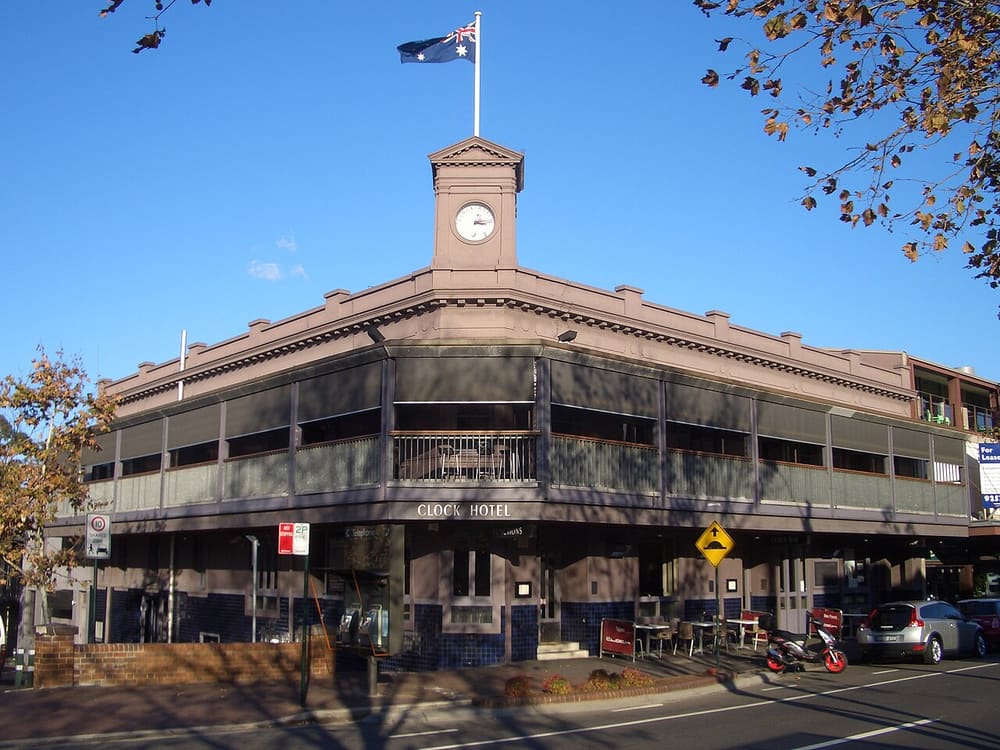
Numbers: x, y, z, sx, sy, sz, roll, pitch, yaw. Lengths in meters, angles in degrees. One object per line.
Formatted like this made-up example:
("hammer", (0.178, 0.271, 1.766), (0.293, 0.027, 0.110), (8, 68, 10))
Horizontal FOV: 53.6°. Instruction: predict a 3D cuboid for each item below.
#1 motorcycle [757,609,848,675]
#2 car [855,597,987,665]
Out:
("motorcycle", (7.991, 7.302, 26.604), (2.076, 1.476, 1.153), (-2, -13, 2))
("car", (12.683, 7.677, 29.130), (6.025, 1.789, 2.296), (14, -26, -35))
